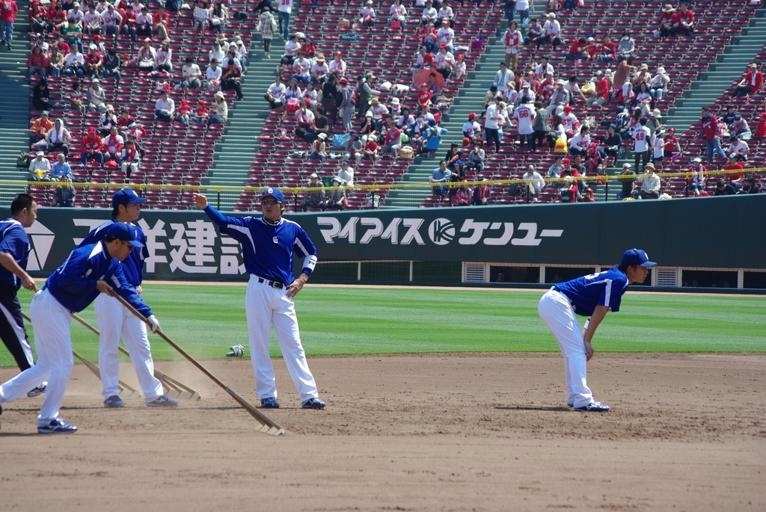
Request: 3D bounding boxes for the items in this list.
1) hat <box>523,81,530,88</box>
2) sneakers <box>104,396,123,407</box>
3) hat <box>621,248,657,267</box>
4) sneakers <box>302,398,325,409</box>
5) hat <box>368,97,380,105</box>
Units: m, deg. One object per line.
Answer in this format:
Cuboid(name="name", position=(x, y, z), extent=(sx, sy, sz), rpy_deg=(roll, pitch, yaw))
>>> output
Cuboid(name="hat", position=(4.714, -5.660, 58.990), extent=(0.228, 0.158, 0.332), rpy_deg=(0, -10, 5))
Cuboid(name="sneakers", position=(-6.397, 3.458, 42.363), extent=(0.432, 0.173, 0.214), rpy_deg=(-2, 2, -16))
Cuboid(name="hat", position=(6.154, 0.088, 42.507), extent=(0.908, 0.458, 0.577), rpy_deg=(4, 5, -2))
Cuboid(name="sneakers", position=(-1.655, 3.494, 42.368), extent=(0.453, 0.189, 0.241), rpy_deg=(0, 3, 3))
Cuboid(name="hat", position=(-0.286, -5.144, 59.787), extent=(0.296, 0.089, 0.287), rpy_deg=(3, 19, 18))
